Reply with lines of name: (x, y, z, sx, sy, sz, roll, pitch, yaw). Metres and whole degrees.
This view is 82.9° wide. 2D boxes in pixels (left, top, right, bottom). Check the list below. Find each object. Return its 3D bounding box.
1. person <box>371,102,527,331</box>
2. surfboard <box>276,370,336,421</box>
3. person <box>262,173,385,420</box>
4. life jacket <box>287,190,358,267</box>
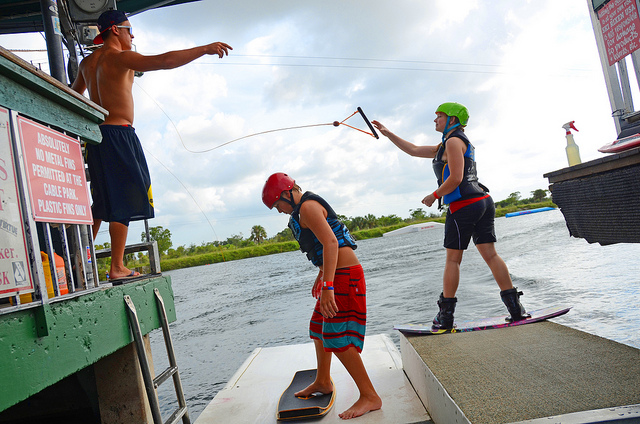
person: (1.720, -0.015, 4.492, 0.936, 2.980, 0.586, -13, -3, 12)
surfboard: (-0.134, 1.863, 3.663, 0.553, 0.203, 0.698, -13, -4, 6)
person: (0.045, 0.711, 3.540, 0.851, 2.272, 0.824, -12, -3, -11)
life jacket: (0.004, 0.150, 3.651, 0.628, 0.710, 0.463, -12, -3, -4)
